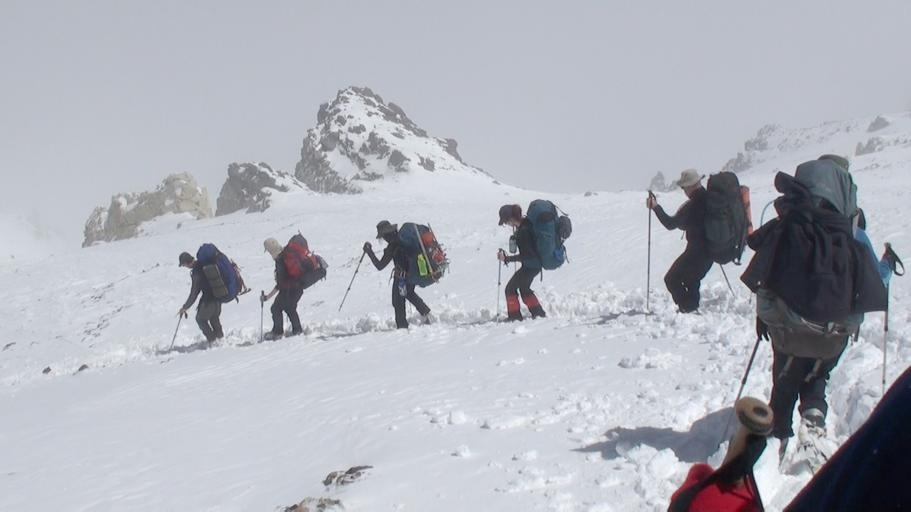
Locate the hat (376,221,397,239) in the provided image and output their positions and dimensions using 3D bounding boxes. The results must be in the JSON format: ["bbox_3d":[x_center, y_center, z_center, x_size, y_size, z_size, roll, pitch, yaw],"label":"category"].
[{"bbox_3d":[-2.133,-0.806,20.358,0.531,0.302,0.569,-28,7,-8],"label":"hat"}]

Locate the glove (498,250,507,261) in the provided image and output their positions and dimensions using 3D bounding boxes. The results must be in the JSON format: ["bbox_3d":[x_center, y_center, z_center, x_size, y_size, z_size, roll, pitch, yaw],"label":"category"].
[{"bbox_3d":[1.373,-0.027,19.478,0.178,0.264,0.503,-10,5,14],"label":"glove"}]

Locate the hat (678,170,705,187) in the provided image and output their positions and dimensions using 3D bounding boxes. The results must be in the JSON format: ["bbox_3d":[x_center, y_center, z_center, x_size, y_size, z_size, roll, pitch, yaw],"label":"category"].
[{"bbox_3d":[6.151,-2.036,17.598,0.558,0.451,0.231,-9,6,29],"label":"hat"}]
